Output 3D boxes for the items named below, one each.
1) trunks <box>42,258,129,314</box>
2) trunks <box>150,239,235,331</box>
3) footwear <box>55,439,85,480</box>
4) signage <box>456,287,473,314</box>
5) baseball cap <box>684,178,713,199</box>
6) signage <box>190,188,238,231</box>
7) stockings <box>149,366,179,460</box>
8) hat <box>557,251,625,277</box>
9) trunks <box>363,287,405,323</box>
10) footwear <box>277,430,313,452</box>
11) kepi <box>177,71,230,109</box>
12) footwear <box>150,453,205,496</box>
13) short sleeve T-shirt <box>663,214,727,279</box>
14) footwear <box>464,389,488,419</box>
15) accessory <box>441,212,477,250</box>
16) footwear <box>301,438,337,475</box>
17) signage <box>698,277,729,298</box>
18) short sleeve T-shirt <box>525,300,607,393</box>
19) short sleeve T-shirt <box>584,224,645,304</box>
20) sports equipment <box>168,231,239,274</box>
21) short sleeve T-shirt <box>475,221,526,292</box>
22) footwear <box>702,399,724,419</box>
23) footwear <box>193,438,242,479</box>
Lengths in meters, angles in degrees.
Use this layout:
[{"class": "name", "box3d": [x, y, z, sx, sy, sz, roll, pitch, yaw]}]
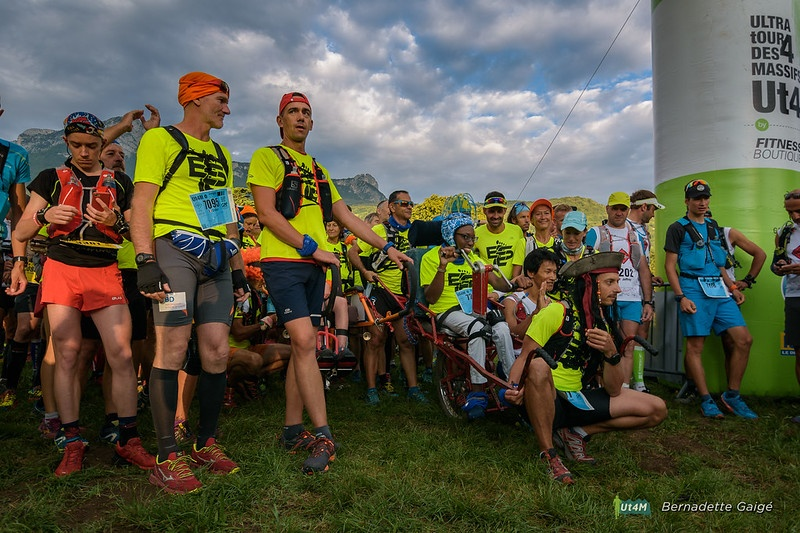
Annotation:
[{"class": "trunks", "box3d": [-2.989, 0.096, 4.939, 0.728, 0.538, 0.398, 4, 7, -20]}, {"class": "trunks", "box3d": [-1.817, 0.154, 4.496, 0.402, 0.724, 0.679, -12, -14, 35]}, {"class": "footwear", "box3d": [-2.914, 1.724, 4.571, 0.144, 0.152, 0.377, 3, 1, -26]}, {"class": "signage", "box3d": [0.798, 0.426, 6.341, 0.290, 0.320, 0.043, -8, -23, -10]}, {"class": "baseball cap", "box3d": [4.226, -1.126, 7.374, 0.268, 0.219, 0.378, -2, 4, 14]}, {"class": "signage", "box3d": [-1.676, -0.525, 4.620, 0.305, 0.294, 0.042, -27, 10, -28]}, {"class": "stockings", "box3d": [-2.016, 1.263, 4.430, 0.222, 0.808, 0.157, -1, -3, -25]}, {"class": "hat", "box3d": [1.909, -0.022, 5.160, 0.308, 0.116, 0.363, 6, -11, -40]}, {"class": "trunks", "box3d": [-0.176, 0.488, 7.158, 0.599, 0.575, 0.418, 4, -3, -30]}, {"class": "footwear", "box3d": [-0.983, 1.725, 5.056, 0.360, 0.182, 0.148, -3, 5, 3]}, {"class": "kepi", "box3d": [-1.860, -1.675, 4.782, 0.300, 0.209, 0.360, 17, -1, 28]}, {"class": "footwear", "box3d": [-1.868, 1.733, 4.343, 0.565, 0.290, 0.191, -3, -3, 35]}, {"class": "short sleeve T-shirt", "box3d": [4.327, -0.281, 7.440, 0.871, 0.908, 0.515, -4, -4, 3]}, {"class": "footwear", "box3d": [0.849, 1.535, 5.742, 0.217, 0.132, 0.314, -3, 8, 12]}, {"class": "accessory", "box3d": [0.693, -0.484, 6.488, 0.329, 0.425, 0.441, 10, 31, 36]}, {"class": "footwear", "box3d": [-0.739, 1.712, 4.735, 0.258, 0.266, 0.436, -2, -2, 2]}, {"class": "signage", "box3d": [4.362, 0.286, 7.181, 0.306, 0.318, 0.110, -5, -10, -5]}, {"class": "short sleeve T-shirt", "box3d": [1.806, 0.850, 5.368, 0.920, 0.924, 0.509, 11, -5, -24]}, {"class": "short sleeve T-shirt", "box3d": [3.211, -0.079, 7.772, 0.866, 1.290, 0.689, 7, -13, -6]}, {"class": "sports equipment", "box3d": [-1.829, -0.147, 4.821, 0.581, 0.242, 0.652, -14, -5, 44]}, {"class": "short sleeve T-shirt", "box3d": [1.452, -0.183, 7.547, 0.900, 0.908, 0.486, -6, 17, 3]}, {"class": "footwear", "box3d": [4.083, 1.877, 6.753, 0.156, 0.133, 0.308, -3, -6, 8]}, {"class": "footwear", "box3d": [-1.544, 1.710, 4.605, 0.537, 0.256, 0.202, 12, 0, 18]}]
